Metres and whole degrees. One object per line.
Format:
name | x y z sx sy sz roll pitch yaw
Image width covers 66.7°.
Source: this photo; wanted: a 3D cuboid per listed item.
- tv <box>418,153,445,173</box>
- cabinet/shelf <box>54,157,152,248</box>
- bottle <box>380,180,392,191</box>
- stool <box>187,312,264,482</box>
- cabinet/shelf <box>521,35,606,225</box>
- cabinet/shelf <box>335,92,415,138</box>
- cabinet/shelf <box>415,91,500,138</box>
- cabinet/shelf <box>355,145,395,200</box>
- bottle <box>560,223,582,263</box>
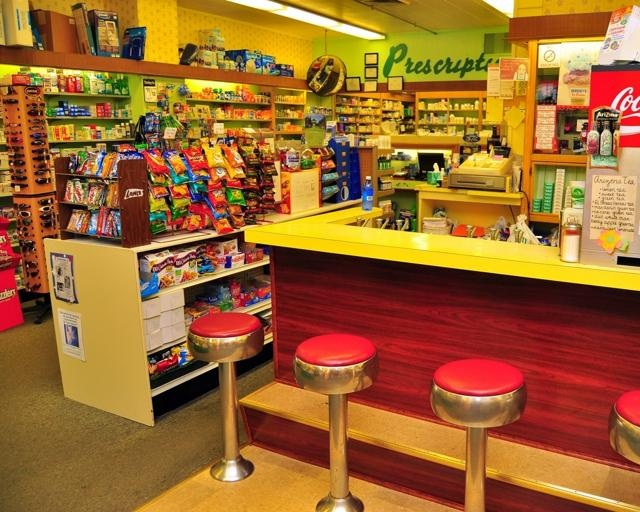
tv | 1.518 -1.278 6.632 0.372 0.248 0.261 5 16 24
cabinet/shelf | -1.449 -0.378 3.294 0.567 0.460 0.205 14 22 33
bottle | 0.772 -0.837 5.777 0.047 0.094 0.145 6 12 33
stool | -0.474 0.760 2.581 0.334 0.897 0.344 -15 19 -39
cabinet/shelf | 2.151 -1.102 4.430 0.561 1.620 0.385 5 17 27
cabinet/shelf | 1.643 -4.179 14.356 2.793 1.209 0.793 -10 17 -30
cabinet/shelf | 3.647 -3.830 13.206 2.226 1.204 0.305 1 4 6
cabinet/shelf | 0.659 -0.948 5.652 0.312 0.661 1.048 2 15 15
bottle | 1.047 -0.054 2.034 0.074 0.155 0.056 5 17 26
